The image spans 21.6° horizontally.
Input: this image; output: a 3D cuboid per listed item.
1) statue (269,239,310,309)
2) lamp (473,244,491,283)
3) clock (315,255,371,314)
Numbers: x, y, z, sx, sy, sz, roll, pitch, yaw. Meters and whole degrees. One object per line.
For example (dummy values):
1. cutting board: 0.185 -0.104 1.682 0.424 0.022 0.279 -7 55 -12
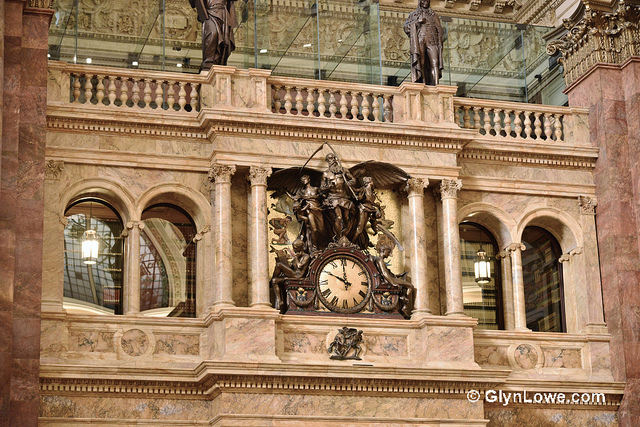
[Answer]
1. statue: -0.689 1.283 36.276 0.871 1.493 0.367 0 -12 -2
2. lamp: 3.688 1.125 38.305 0.358 0.839 0.134 -3 -13 11
3. clock: 0.433 1.541 36.331 1.257 1.200 0.116 2 -16 -15
